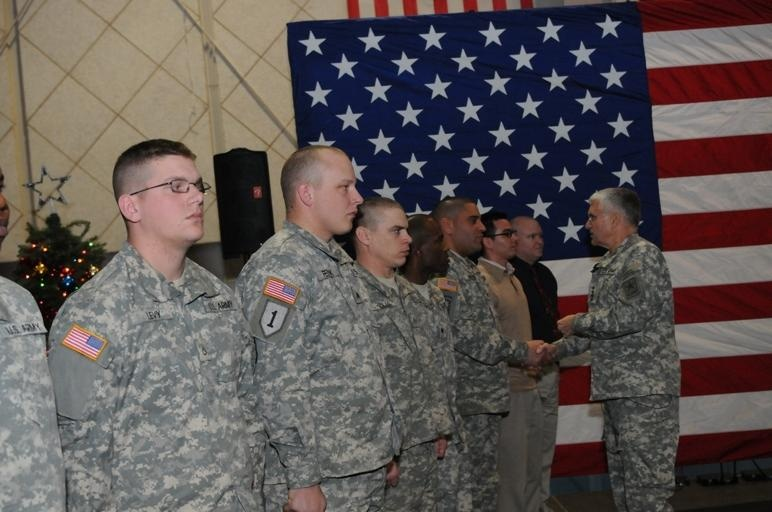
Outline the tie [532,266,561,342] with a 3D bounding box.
[{"bbox_3d":[1.284,0.371,6.610,0.107,0.495,0.281,-8,-10,22],"label":"tie"}]
